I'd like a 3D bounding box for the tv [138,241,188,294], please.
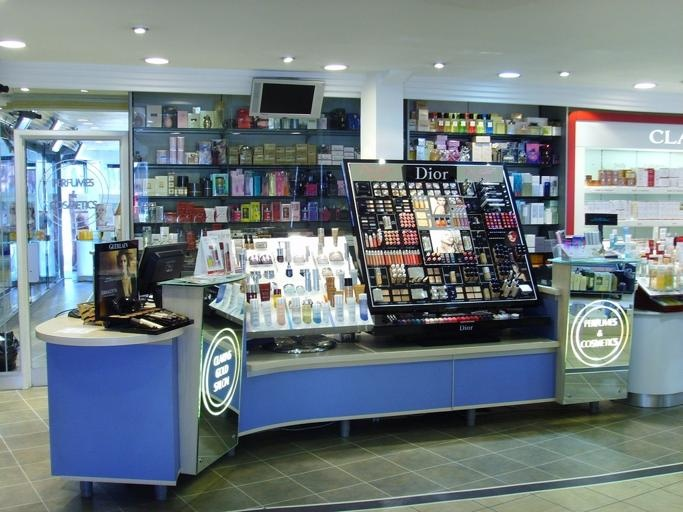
[{"bbox_3d":[-1.416,0.104,4.346,0.168,0.275,0.446,10,14,27],"label":"tv"}]
